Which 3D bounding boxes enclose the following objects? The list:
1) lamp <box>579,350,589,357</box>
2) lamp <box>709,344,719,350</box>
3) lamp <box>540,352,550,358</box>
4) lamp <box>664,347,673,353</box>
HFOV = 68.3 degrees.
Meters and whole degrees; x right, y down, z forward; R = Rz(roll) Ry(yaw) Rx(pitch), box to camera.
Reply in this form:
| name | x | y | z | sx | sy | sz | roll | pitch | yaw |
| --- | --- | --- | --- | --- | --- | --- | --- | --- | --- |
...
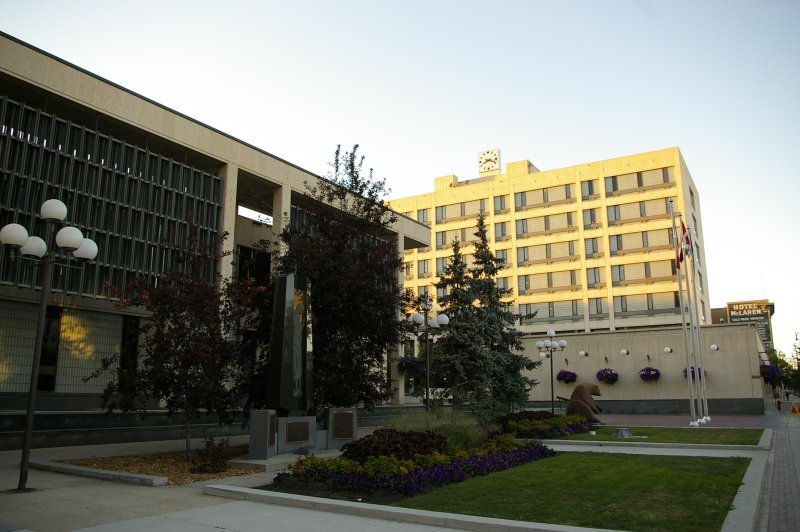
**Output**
| name | x | y | z | sx | sy | sz | roll | pitch | yaw |
| --- | --- | --- | --- | --- | --- | --- | --- | --- | --- |
| lamp | 15.366 | 7.318 | 49.153 | 0.701 | 0.335 | 0.507 | 7 | -12 | -24 |
| lamp | 23.972 | 6.253 | 45.032 | 0.478 | 0.397 | 0.465 | -22 | -20 | 30 |
| lamp | 12.265 | 7.577 | 49.615 | 0.938 | 0.342 | 0.979 | -1 | -7 | 7 |
| lamp | 20.958 | 6.604 | 46.106 | 0.302 | 0.374 | 0.551 | -4 | -8 | -12 |
